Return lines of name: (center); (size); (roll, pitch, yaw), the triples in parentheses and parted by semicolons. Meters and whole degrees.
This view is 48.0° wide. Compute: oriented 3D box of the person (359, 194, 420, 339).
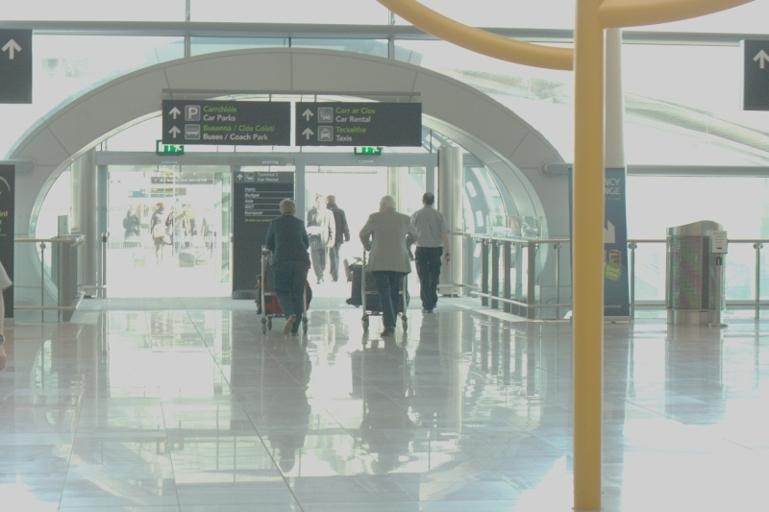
person: (0.040, 0.138, 13.025); (0.624, 2.050, 0.670); (0, 1, 45)

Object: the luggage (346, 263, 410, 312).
luggage: (-0.113, 0.536, 13.828); (0.780, 0.882, 0.628); (1, 5, -8)

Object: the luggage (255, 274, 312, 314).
luggage: (-1.539, 0.784, 13.402); (1.055, 0.968, 0.594); (1, -6, -11)

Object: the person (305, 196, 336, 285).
person: (-1.376, -0.389, 18.709); (0.534, 2.025, 0.551); (-1, 16, 2)

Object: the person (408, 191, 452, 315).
person: (0.793, -0.071, 15.182); (0.703, 2.048, 0.701); (0, 0, -11)

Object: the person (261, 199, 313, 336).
person: (-1.417, 0.182, 12.674); (0.614, 1.961, 0.384); (0, 1, -8)
